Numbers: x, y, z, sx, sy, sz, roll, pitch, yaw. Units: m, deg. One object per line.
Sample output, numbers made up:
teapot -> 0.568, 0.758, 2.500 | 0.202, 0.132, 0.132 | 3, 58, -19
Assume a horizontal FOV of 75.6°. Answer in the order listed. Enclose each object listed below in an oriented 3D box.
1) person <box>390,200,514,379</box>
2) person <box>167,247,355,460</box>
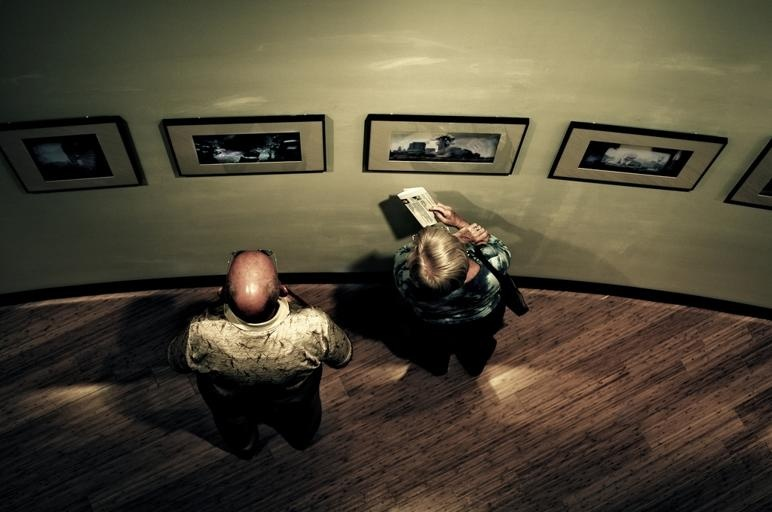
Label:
person -> 0.509, 0.351, 4.030 | 0.886, 2.148, 0.709 | -8, 58, -1
person -> -0.897, 0.826, 3.683 | 1.115, 2.400, 0.753 | -2, 52, -13
